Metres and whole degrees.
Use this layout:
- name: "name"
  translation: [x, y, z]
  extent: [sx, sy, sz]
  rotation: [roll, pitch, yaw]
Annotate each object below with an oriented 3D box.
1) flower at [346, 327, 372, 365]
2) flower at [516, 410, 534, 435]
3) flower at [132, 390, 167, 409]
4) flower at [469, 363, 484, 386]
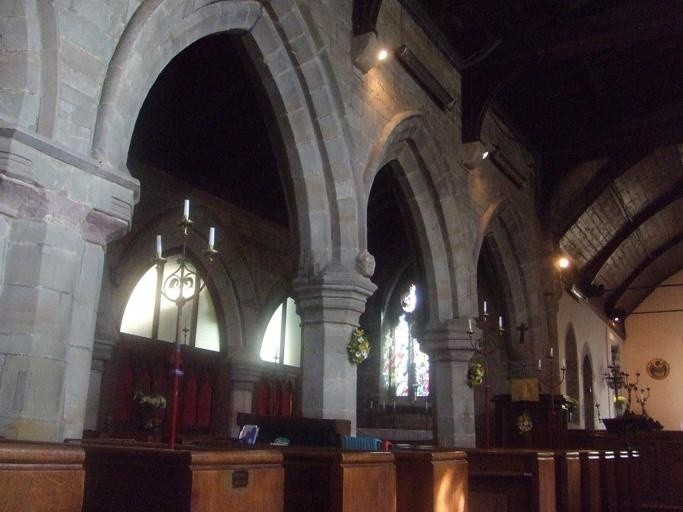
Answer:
- name: "flower"
  translation: [0.144, 1.160, 7.232]
  extent: [0.355, 0.460, 0.171]
  rotation: [13, -13, -37]
- name: "flower"
  translation: [3.806, 3.450, 11.590]
  extent: [0.243, 0.457, 0.165]
  rotation: [2, -10, 26]
- name: "flower"
  translation: [-3.530, 2.623, 10.305]
  extent: [0.566, 0.293, 0.845]
  rotation: [10, -24, -24]
- name: "flower"
  translation: [2.375, 2.080, 9.885]
  extent: [0.218, 0.417, 0.326]
  rotation: [-10, -22, 27]
